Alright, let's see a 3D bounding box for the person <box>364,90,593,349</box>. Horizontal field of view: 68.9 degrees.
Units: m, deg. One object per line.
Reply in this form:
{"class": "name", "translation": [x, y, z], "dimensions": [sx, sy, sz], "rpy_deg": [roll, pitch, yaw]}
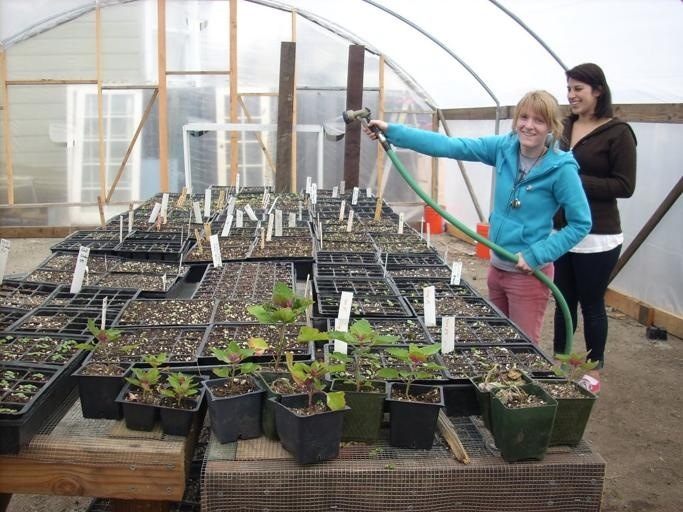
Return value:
{"class": "person", "translation": [1.062, -0.217, 3.260], "dimensions": [1.003, 1.554, 0.547], "rpy_deg": [9, 14, 41]}

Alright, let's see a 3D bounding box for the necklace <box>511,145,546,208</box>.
{"class": "necklace", "translation": [1.130, -0.465, 3.074], "dimensions": [0.089, 0.281, 0.219], "rpy_deg": [14, -1, -38]}
